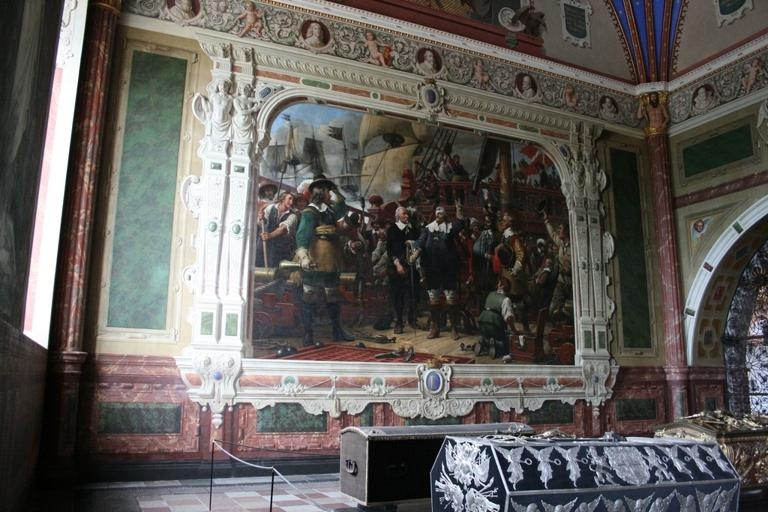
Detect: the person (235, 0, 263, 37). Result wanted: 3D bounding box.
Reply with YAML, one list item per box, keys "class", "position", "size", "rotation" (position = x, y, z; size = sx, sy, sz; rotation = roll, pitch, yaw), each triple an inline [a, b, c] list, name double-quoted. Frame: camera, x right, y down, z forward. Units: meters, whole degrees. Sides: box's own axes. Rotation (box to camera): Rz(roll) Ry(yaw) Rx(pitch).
- class: "person"
  position: [-2.495, -4.372, 14.416]
  size: [0.600, 0.851, 0.256]
  rotation: [-5, -6, -24]

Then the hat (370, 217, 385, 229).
- class: "hat"
  position: [-0.109, -0.599, 14.886]
  size: [0.212, 0.225, 0.054]
  rotation: [13, -11, -15]

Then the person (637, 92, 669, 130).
- class: "person"
  position: [5.960, -3.198, 17.281]
  size: [0.709, 1.086, 0.340]
  rotation: [-3, -12, 27]

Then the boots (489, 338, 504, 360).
- class: "boots"
  position: [2.250, 1.832, 15.364]
  size: [0.166, 0.522, 0.333]
  rotation: [-9, -13, 43]
